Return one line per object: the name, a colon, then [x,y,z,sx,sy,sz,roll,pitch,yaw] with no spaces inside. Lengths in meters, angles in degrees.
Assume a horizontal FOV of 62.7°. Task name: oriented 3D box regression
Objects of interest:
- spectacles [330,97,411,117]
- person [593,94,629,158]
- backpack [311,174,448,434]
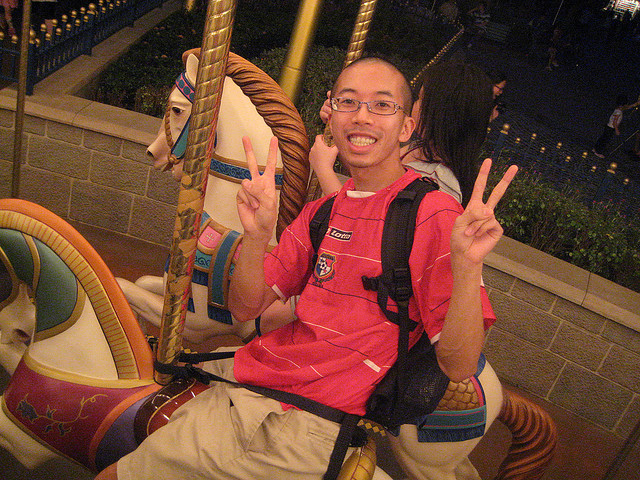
spectacles: [0.162,-0.497,1.844,0.189,0.084,0.085,11,23,27]
person: [5.332,-2.080,9.562,0.338,1.116,0.759,21,20,25]
backpack: [0.298,0.242,1.816,0.263,0.845,0.363,-4,25,-41]
